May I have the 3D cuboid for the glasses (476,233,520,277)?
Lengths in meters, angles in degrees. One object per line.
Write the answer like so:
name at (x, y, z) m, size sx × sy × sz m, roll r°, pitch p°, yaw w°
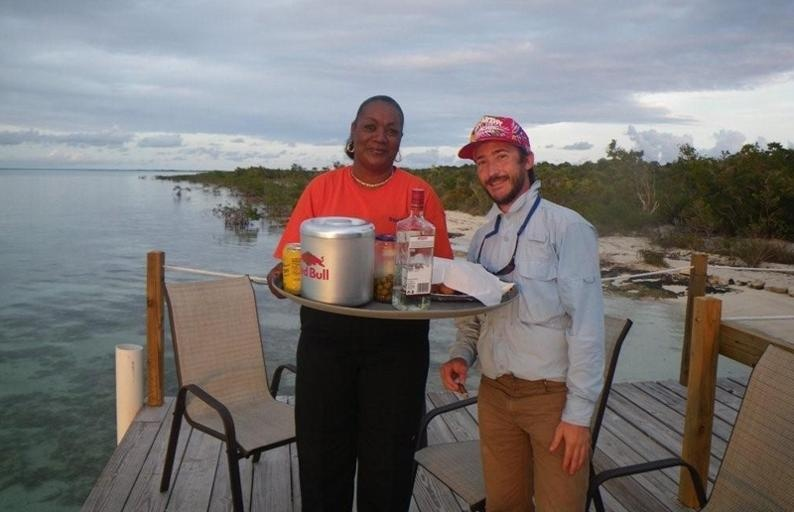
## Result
glasses at (0.647, 0.000, 3.157) m, size 0.217 × 0.274 × 0.066 m, roll 25°, pitch -4°, yaw -25°

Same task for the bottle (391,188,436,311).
bottle at (0.082, -0.040, 2.700) m, size 0.233 × 0.628 × 0.392 m, roll 0°, pitch 15°, yaw 3°

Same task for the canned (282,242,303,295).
canned at (-0.597, 0.074, 2.774) m, size 0.115 × 0.280 × 0.167 m, roll -4°, pitch 15°, yaw -13°
